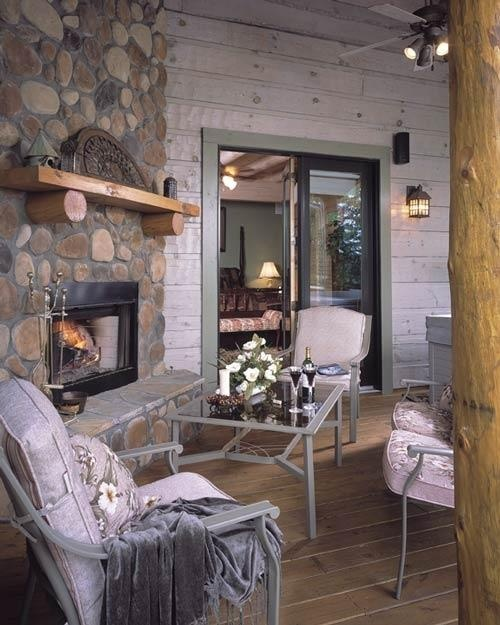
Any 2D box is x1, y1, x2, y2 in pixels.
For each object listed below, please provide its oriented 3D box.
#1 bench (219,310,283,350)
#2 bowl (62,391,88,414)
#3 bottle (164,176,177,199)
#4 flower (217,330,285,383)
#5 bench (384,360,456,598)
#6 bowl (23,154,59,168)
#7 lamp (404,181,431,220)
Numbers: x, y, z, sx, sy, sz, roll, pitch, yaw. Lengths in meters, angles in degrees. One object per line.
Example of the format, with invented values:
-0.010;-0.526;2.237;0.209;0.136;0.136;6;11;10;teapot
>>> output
-0.158;0.232;6.948;0.414;0.505;1.222;9;8;43;bench
-0.785;0.397;2.378;0.101;0.064;0.098;2;5;0;bowl
-0.499;-0.770;3.333;0.068;0.159;0.199;-1;5;-12;bottle
-0.015;0.238;2.652;0.318;0.256;0.291;2;5;13;flower
0.648;0.644;2.029;0.276;0.480;0.825;-1;-2;15;bench
-0.869;-0.631;2.249;0.108;0.040;0.104;-1;11;0;bowl
1.469;-0.932;4.547;0.336;0.280;0.181;-3;6;-37;lamp
